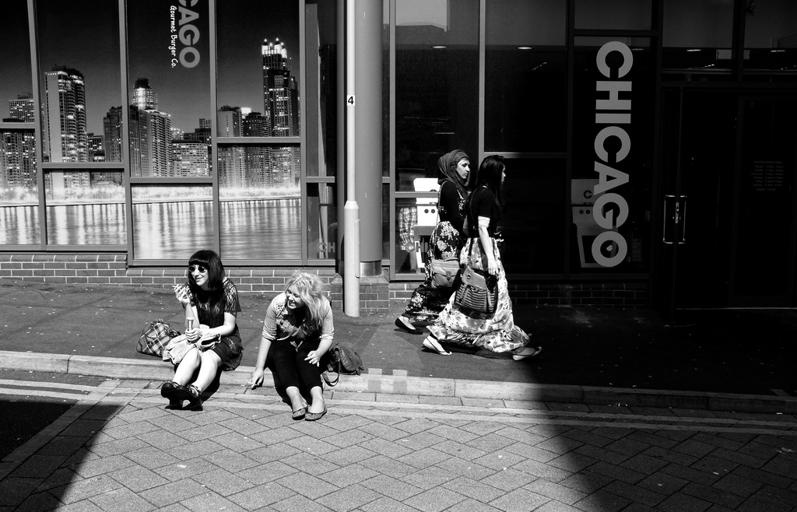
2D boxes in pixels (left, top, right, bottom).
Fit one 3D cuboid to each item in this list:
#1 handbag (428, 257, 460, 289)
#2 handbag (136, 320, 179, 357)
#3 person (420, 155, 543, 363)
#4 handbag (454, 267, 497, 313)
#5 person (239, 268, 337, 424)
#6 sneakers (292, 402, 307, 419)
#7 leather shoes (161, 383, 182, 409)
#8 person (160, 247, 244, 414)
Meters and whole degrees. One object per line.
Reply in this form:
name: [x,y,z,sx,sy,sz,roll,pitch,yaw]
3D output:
handbag: [0.637,0.210,9.925,0.654,0.562,0.358,1,11,3]
handbag: [-3.136,1.049,8.807,0.498,0.455,0.477,3,-11,25]
person: [1.123,0.040,9.153,1.384,2.703,0.573,1,9,10]
handbag: [1.061,0.467,9.042,0.574,0.520,0.288,7,12,15]
person: [-1.237,0.932,7.778,1.024,1.225,1.796,2,15,-10]
sneakers: [-1.090,1.719,7.513,0.168,0.159,0.104,-2,9,-9]
leather shoes: [-2.510,1.548,7.518,0.257,0.274,0.317,-1,-10,3]
person: [-2.403,0.802,8.072,0.739,1.669,0.934,1,9,10]
